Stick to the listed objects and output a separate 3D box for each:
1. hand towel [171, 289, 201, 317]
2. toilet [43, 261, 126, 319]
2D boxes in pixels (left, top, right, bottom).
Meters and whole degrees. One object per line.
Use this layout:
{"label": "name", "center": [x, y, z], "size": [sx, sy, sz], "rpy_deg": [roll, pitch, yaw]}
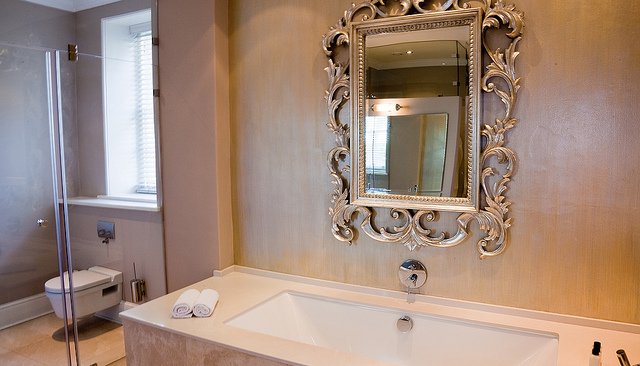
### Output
{"label": "hand towel", "center": [-0.891, 0.767, 3.241], "size": [0.138, 0.084, 0.234], "rpy_deg": [4, 4, -4]}
{"label": "toilet", "center": [-1.739, 0.780, 3.639], "size": [0.365, 0.243, 0.461], "rpy_deg": [5, 4, 26]}
